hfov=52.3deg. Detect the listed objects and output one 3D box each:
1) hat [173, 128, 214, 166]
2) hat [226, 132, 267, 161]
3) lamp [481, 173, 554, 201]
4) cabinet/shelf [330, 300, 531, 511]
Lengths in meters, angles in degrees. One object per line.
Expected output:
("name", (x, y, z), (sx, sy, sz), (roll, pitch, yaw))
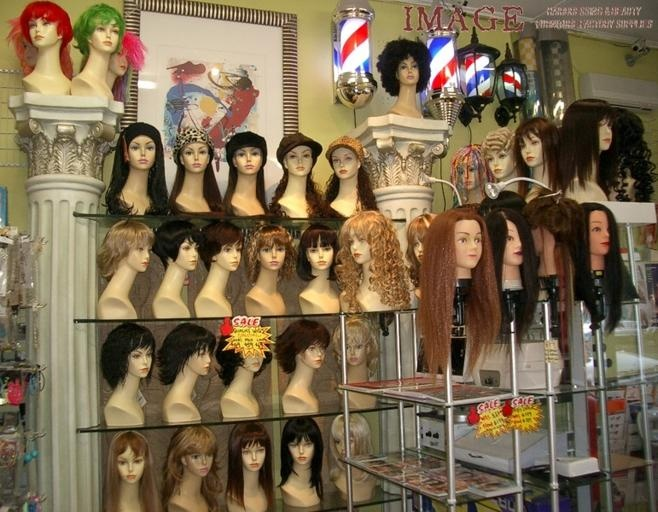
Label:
("hat", (-0.747, -0.603, 3.619), (0.190, 0.161, 0.196), (-2, -6, -19))
("hat", (-0.445, -0.587, 3.634), (0.198, 0.116, 0.260), (0, -3, -9))
("lamp", (0.905, -0.343, 3.296), (0.238, 0.077, 0.181), (-4, -5, -13))
("cabinet/shelf", (0.497, 0.713, 3.161), (0.473, 1.326, 1.069), (2, -5, -26))
